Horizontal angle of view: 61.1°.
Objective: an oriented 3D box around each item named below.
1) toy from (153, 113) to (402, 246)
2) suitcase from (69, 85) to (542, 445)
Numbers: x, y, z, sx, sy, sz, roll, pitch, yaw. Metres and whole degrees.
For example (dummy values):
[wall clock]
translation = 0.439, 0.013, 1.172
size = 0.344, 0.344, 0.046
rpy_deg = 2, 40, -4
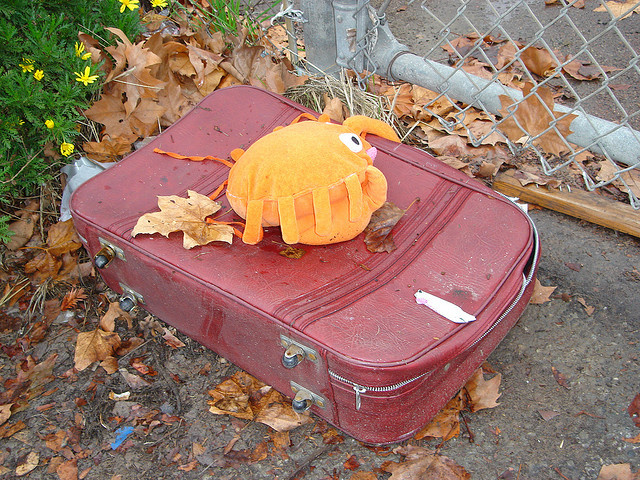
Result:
[toy]
translation = -0.082, -0.196, 1.732
size = 0.516, 0.180, 0.386
rpy_deg = 31, 47, 6
[suitcase]
translation = -0.216, 0.186, 2.110
size = 1.550, 0.442, 1.101
rpy_deg = 28, 54, 21
